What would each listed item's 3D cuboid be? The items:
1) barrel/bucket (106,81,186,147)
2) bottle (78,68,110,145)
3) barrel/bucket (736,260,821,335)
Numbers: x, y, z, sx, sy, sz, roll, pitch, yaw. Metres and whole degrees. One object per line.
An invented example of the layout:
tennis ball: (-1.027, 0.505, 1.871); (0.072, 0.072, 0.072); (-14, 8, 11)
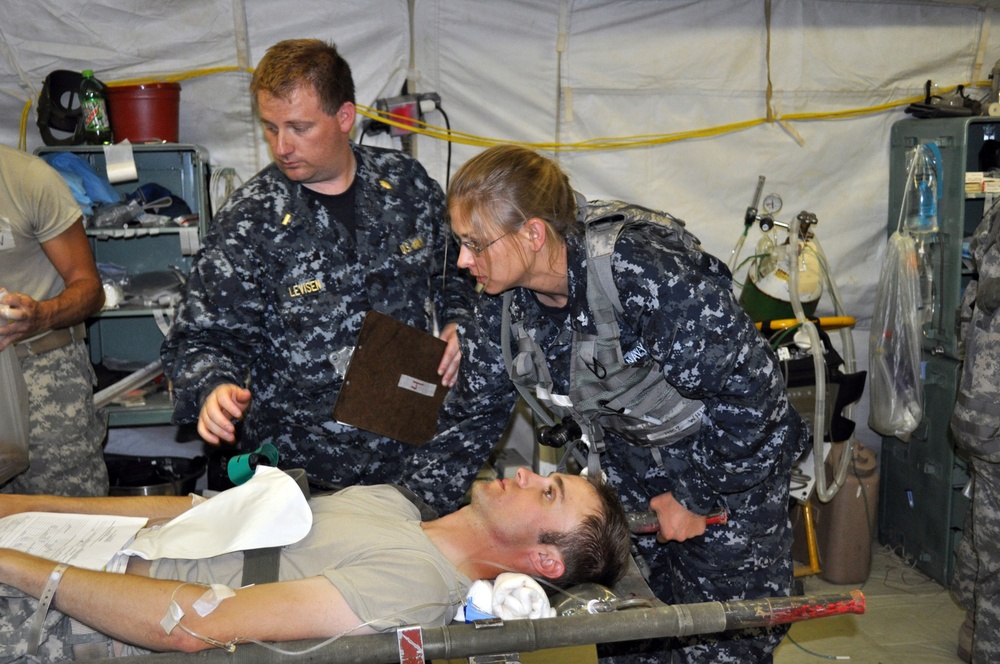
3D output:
barrel/bucket: (-1.847, -1.156, 4.611); (0.348, 0.251, 0.339); (0, 6, 0)
bottle: (-2.110, -1.164, 4.563); (0.135, 0.366, 0.093); (-3, 9, -13)
barrel/bucket: (1.492, -0.206, 4.857); (0.426, 0.385, 0.396); (-2, 20, 1)
